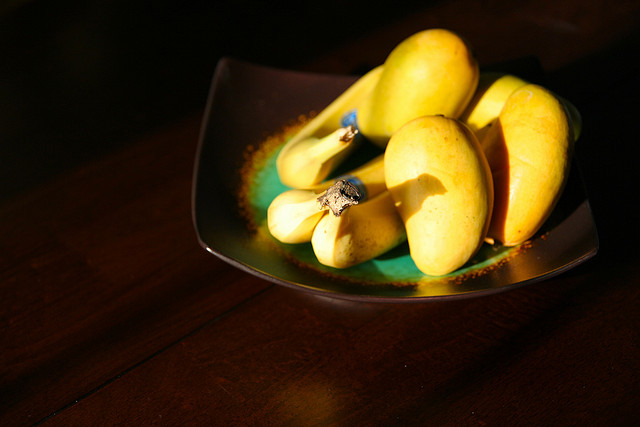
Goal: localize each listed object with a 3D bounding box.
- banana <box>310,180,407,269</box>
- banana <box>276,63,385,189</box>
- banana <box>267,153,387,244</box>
[{"bbox_3d":[0.050,0.007,0.736,0.163,0.108,0.052,-20,16,-40],"label":"banana"},{"bbox_3d":[0.013,-0.104,0.764,0.041,0.103,0.118,39,67,1],"label":"banana"},{"bbox_3d":[0.009,-0.014,0.717,0.095,0.061,0.033,-33,76,-8],"label":"banana"}]
